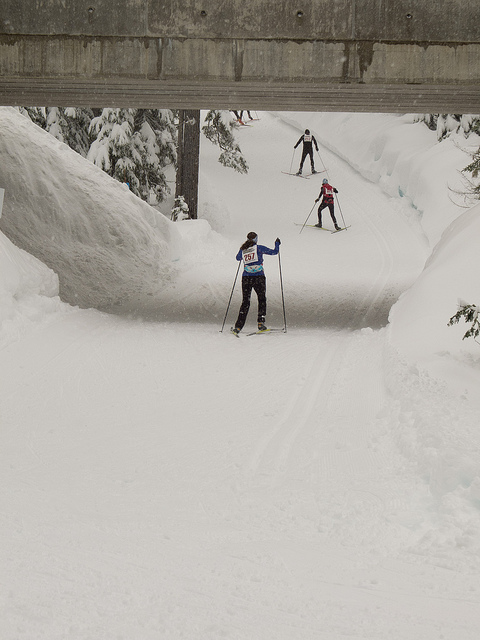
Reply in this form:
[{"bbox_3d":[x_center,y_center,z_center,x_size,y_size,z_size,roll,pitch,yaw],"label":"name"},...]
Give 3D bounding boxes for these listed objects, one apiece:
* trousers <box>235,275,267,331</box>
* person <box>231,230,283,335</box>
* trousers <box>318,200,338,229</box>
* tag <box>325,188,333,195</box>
[{"bbox_3d":[0.173,-0.318,12.024,0.490,0.369,1.368,0,59,1],"label":"trousers"},{"bbox_3d":[0.254,-0.583,12.172,0.723,1.842,0.661,-7,-17,26],"label":"person"},{"bbox_3d":[2.603,-3.092,21.400,0.598,0.842,1.490,2,11,6],"label":"trousers"},{"bbox_3d":[2.476,-3.567,20.223,0.219,0.161,0.309,2,11,4],"label":"tag"}]
